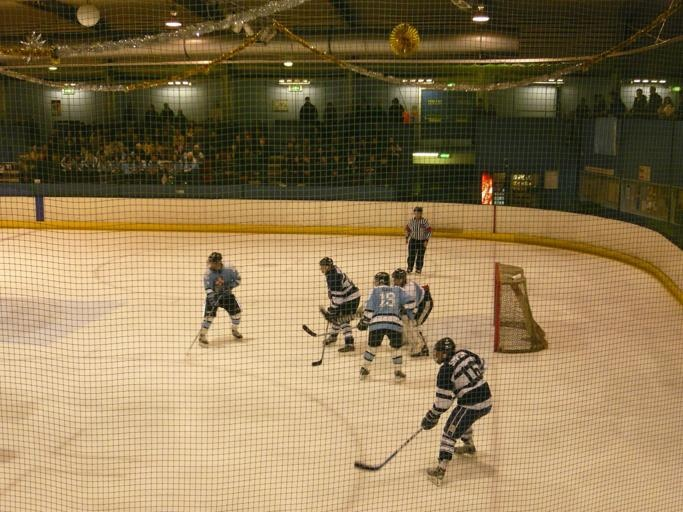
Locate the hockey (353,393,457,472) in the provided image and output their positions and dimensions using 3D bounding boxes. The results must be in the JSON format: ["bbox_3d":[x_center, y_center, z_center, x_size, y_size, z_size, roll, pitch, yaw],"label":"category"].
[{"bbox_3d":[0.725,2.018,7.953,1.269,0.300,0.067,-22,-22,-29],"label":"hockey"}]

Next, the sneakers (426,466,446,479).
[{"bbox_3d":[0.998,2.271,7.674,0.184,0.129,0.100,17,14,30],"label":"sneakers"}]

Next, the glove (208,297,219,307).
[{"bbox_3d":[-1.743,0.625,10.034,0.106,0.023,0.111,15,21,39],"label":"glove"}]

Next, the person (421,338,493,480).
[{"bbox_3d":[1.184,1.595,7.933,0.809,1.347,0.590,-5,13,-31],"label":"person"}]

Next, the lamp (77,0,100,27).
[{"bbox_3d":[-5.271,-5.006,15.279,0.465,0.414,0.636,-8,15,-43],"label":"lamp"}]

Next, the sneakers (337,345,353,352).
[{"bbox_3d":[0.068,1.250,9.949,0.189,0.147,0.077,3,3,-3],"label":"sneakers"}]

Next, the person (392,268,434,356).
[{"bbox_3d":[0.876,0.744,9.848,0.648,1.130,0.568,1,9,39],"label":"person"}]

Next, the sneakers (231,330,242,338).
[{"bbox_3d":[-1.456,1.090,10.239,0.133,0.138,0.084,1,2,-20],"label":"sneakers"}]

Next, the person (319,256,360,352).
[{"bbox_3d":[-0.020,0.642,9.920,0.519,1.252,0.349,2,11,-1],"label":"person"}]

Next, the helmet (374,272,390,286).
[{"bbox_3d":[0.533,0.297,9.445,0.176,0.163,0.146,6,7,23],"label":"helmet"}]

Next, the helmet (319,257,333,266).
[{"bbox_3d":[-0.206,0.079,9.842,0.167,0.146,0.127,-3,4,35],"label":"helmet"}]

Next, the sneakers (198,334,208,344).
[{"bbox_3d":[-1.887,1.143,10.122,0.098,0.160,0.154,0,-6,3],"label":"sneakers"}]

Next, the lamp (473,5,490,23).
[{"bbox_3d":[2.839,-4.880,14.877,0.369,0.280,0.339,2,11,-1],"label":"lamp"}]

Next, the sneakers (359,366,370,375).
[{"bbox_3d":[0.301,1.443,9.284,0.121,0.129,0.203,2,11,1],"label":"sneakers"}]

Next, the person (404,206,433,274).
[{"bbox_3d":[1.352,-0.271,13.018,0.417,1.228,0.582,3,11,5],"label":"person"}]

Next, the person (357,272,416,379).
[{"bbox_3d":[0.593,0.851,9.449,0.650,1.244,0.794,2,11,3],"label":"person"}]
